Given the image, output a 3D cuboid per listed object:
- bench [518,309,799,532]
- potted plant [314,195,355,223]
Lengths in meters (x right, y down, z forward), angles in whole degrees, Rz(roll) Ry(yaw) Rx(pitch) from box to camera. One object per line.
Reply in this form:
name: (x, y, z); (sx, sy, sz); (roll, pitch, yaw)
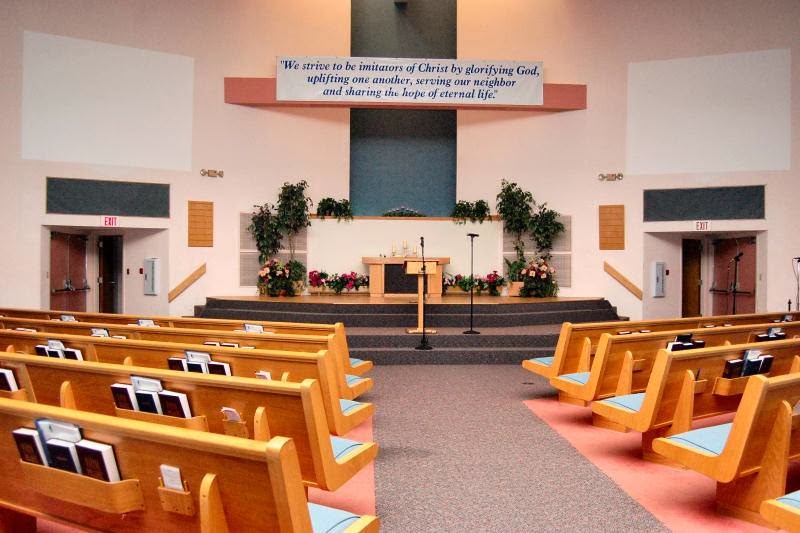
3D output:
bench: (3.175, 1.179, 6.805); (3.219, 1.200, 1.791); (-5, 13, -20)
potted plant: (-1.574, -1.337, 13.552); (0.729, 0.478, 0.613); (1, -4, -3)
